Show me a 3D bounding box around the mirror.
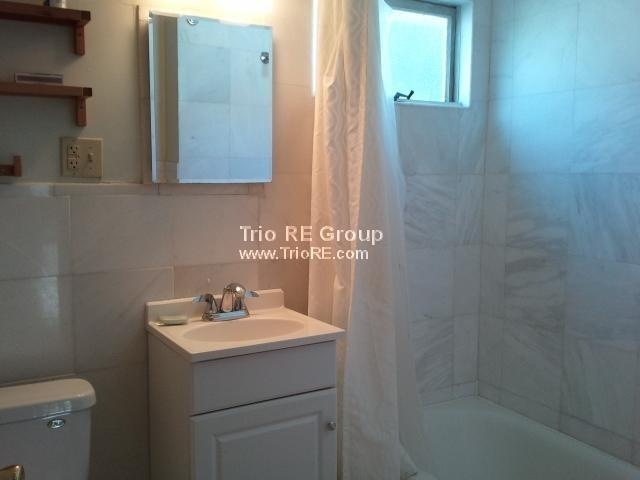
[{"bbox_3d":[-0.481,-0.619,2.131,0.667,0.942,0.090,-2,10,-22],"label":"mirror"}]

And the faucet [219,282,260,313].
[{"bbox_3d":[-0.345,0.245,2.188,0.143,0.114,0.107,4,2,-29],"label":"faucet"}]

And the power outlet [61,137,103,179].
[{"bbox_3d":[-0.938,-0.325,1.990,0.148,0.160,0.050,-1,6,-31],"label":"power outlet"}]
